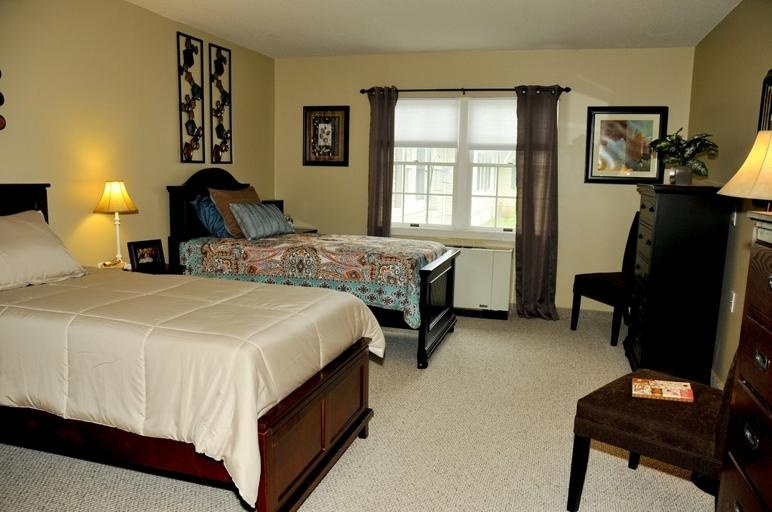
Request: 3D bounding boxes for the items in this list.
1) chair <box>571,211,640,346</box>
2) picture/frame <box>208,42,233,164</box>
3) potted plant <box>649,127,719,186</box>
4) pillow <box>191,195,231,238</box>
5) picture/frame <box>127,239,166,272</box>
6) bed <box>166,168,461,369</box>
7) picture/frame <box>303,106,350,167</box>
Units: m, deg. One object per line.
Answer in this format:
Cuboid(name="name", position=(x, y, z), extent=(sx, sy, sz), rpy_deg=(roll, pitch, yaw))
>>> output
Cuboid(name="chair", position=(2.375, 0.182, 5.572), extent=(0.715, 1.281, 0.654), rpy_deg=(16, 21, 42))
Cuboid(name="picture/frame", position=(-1.924, -1.752, 6.101), extent=(0.041, 1.342, 0.384), rpy_deg=(12, 19, 19))
Cuboid(name="potted plant", position=(2.540, -0.847, 4.531), extent=(0.364, 0.416, 0.407), rpy_deg=(-1, 12, -7))
Cuboid(name="pillow", position=(-1.831, -0.408, 5.580), extent=(0.125, 0.440, 0.432), rpy_deg=(-28, -7, -7))
Cuboid(name="picture/frame", position=(-2.238, -0.014, 4.937), extent=(0.281, 0.344, 0.027), rpy_deg=(-8, 35, -27))
Cuboid(name="bed", position=(-0.605, -0.043, 5.604), extent=(2.538, 1.740, 1.690), rpy_deg=(2, 10, 15))
Cuboid(name="picture/frame", position=(-0.742, -1.596, 6.813), extent=(0.702, 0.887, 0.058), rpy_deg=(2, 6, 16))
